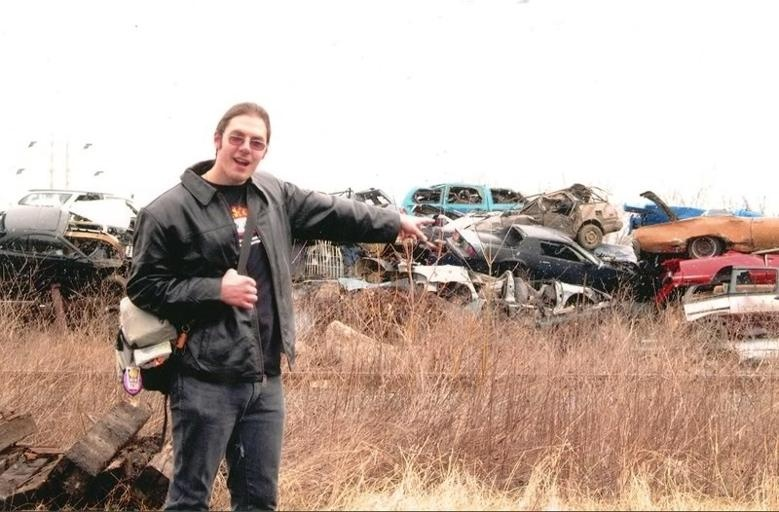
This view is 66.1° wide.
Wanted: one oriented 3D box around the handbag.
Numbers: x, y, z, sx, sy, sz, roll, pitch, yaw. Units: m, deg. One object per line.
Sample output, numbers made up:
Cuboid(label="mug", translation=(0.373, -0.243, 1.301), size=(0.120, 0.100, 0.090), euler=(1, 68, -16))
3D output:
Cuboid(label="handbag", translation=(-1.663, 0.641, 4.144), size=(0.453, 0.665, 0.240), euler=(1, 0, -7))

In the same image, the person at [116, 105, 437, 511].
Cuboid(label="person", translation=(-0.984, 0.348, 4.238), size=(1.574, 2.541, 0.489), euler=(1, 0, -27))
